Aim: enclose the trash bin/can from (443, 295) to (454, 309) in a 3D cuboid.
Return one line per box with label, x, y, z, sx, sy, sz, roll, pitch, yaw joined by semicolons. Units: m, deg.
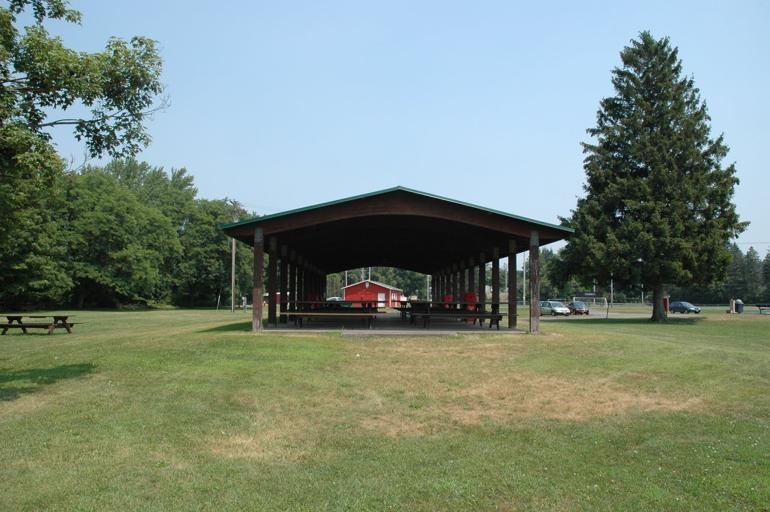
trash bin/can;3.809;2.800;38.597;0.882;0.979;0.883;0;-4;-2
